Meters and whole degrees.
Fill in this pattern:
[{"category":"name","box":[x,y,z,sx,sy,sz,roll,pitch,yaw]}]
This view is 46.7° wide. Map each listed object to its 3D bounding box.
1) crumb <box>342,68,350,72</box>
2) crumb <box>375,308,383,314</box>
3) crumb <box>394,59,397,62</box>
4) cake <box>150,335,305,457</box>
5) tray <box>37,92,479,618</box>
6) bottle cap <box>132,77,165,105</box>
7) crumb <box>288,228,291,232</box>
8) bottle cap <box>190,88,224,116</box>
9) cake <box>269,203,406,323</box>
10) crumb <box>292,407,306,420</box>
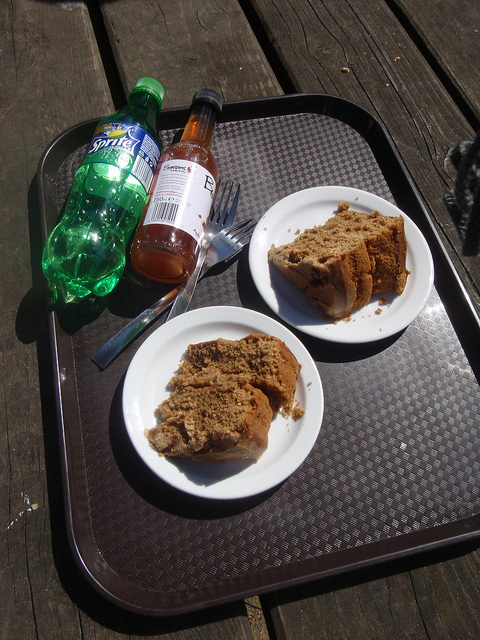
[{"category":"crumb","box":[0.362,-0.854,1.904,0.024,0.007,0.013,-1,66,1]},{"category":"crumb","box":[0.362,-0.025,1.454,0.013,0.004,0.013,3,66,17]},{"category":"crumb","box":[0.539,-0.903,1.938,0.008,0.002,0.008,-3,81,0]},{"category":"cake","box":[-0.019,0.175,1.296,0.292,0.092,0.321,14,67,8]},{"category":"tray","box":[0.067,-0.040,1.459,1.087,0.108,1.344,-9,66,-2]},{"category":"bottle cap","box":[-0.262,-0.662,1.583,0.072,0.074,0.046,-2,69,24]},{"category":"crumb","box":[0.135,-0.248,1.538,0.007,0.003,0.010,5,88,0]},{"category":"bottle cap","box":[-0.088,-0.615,1.547,0.071,0.071,0.053,-2,91,-23]},{"category":"cake","box":[0.252,-0.162,1.562,0.347,0.283,0.459,-4,39,-1]},{"category":"crumb","box":[0.138,0.220,1.316,0.024,0.006,0.024,-42,45,5]}]
